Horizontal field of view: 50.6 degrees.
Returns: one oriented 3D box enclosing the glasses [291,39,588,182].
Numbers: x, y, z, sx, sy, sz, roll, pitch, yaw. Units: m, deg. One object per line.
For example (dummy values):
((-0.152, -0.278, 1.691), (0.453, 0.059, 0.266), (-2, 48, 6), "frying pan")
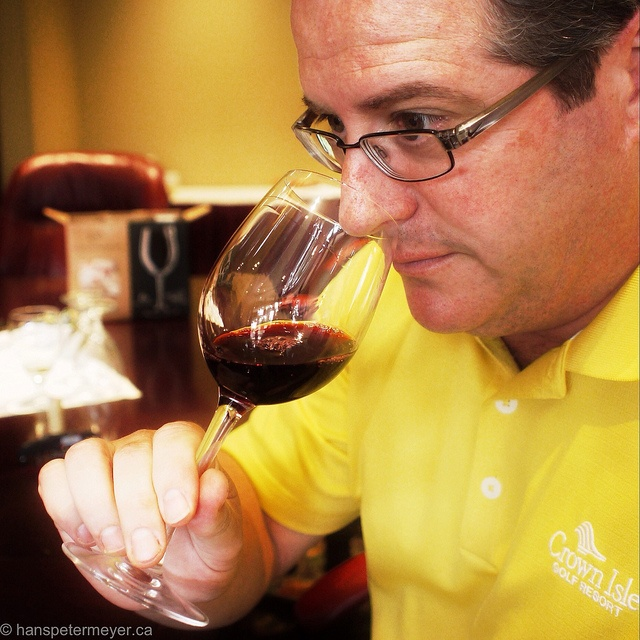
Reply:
((0.104, -0.245, 0.706), (0.194, 0.051, 0.185), (-40, 33, -20), "glasses")
